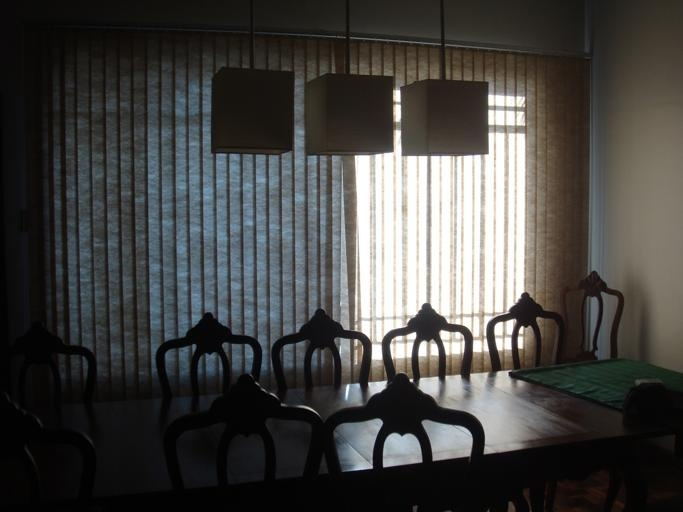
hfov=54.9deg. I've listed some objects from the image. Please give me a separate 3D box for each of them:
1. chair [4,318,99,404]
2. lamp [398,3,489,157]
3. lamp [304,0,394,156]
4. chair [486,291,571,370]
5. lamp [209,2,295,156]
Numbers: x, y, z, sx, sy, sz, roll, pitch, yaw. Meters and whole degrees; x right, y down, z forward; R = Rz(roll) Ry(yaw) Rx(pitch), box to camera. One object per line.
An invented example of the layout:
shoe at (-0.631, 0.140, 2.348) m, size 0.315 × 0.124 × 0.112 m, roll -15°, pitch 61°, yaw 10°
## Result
chair at (-1.535, 0.656, 3.451) m, size 0.328 × 0.610 × 0.396 m, roll -8°, pitch -9°, yaw 42°
lamp at (0.522, -0.902, 3.314) m, size 0.436 × 0.787 × 0.217 m, roll 0°, pitch 4°, yaw 5°
lamp at (0.038, -0.906, 3.302) m, size 0.379 × 0.789 × 0.369 m, roll -2°, pitch 5°, yaw -20°
chair at (1.174, 0.485, 4.186) m, size 0.595 × 0.495 × 0.284 m, roll -3°, pitch 5°, yaw -30°
lamp at (-0.429, -0.880, 3.184) m, size 0.396 × 0.748 × 0.221 m, roll -1°, pitch 5°, yaw -11°
